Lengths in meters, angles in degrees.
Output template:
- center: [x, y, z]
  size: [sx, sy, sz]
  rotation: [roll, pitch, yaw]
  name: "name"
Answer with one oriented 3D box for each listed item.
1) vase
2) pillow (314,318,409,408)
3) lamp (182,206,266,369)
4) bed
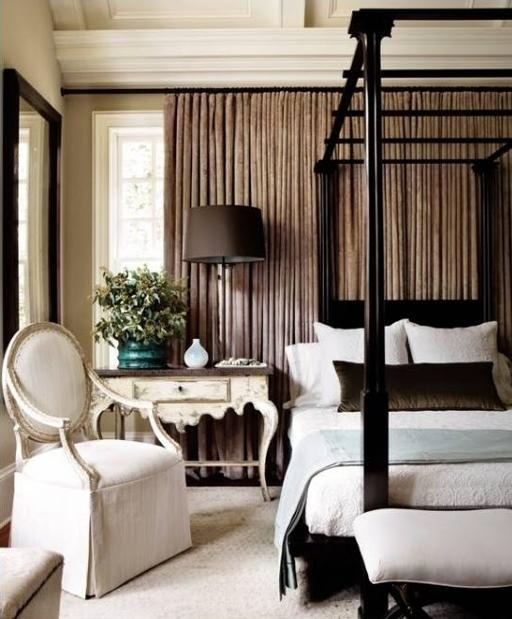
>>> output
- center: [-0.672, 0.031, 3.568]
  size: [0.389, 0.549, 0.395]
  rotation: [-4, 18, -11]
  name: "vase"
- center: [0.513, 0.281, 2.965]
  size: [0.311, 0.420, 0.143]
  rotation: [-1, -12, -2]
  name: "pillow"
- center: [-0.202, -0.133, 3.673]
  size: [0.471, 0.929, 0.565]
  rotation: [0, 2, -9]
  name: "lamp"
- center: [0.561, -0.033, 2.226]
  size: [0.479, 2.168, 1.069]
  rotation: [0, 2, 6]
  name: "bed"
